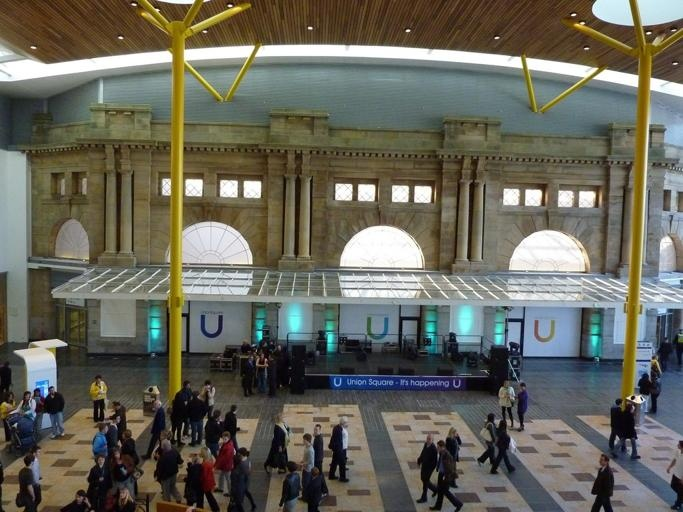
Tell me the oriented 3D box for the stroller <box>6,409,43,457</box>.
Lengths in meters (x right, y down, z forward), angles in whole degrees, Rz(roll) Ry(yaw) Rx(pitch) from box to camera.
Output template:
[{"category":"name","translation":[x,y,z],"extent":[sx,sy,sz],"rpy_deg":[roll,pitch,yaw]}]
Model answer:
[{"category":"stroller","translation":[-11.584,6.468,23.917],"extent":[1.126,2.022,1.475],"rpy_deg":[-3,4,-18]}]

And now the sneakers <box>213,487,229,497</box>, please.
[{"category":"sneakers","translation":[-4.015,8.026,22.268],"extent":[0.545,0.248,0.194],"rpy_deg":[6,3,15]}]

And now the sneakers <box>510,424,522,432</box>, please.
[{"category":"sneakers","translation":[7.233,7.095,26.938],"extent":[0.465,0.212,0.161],"rpy_deg":[-19,-10,30]}]

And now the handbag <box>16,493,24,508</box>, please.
[{"category":"handbag","translation":[-9.979,7.622,20.434],"extent":[0.343,0.502,0.126],"rpy_deg":[-5,-5,40]}]
